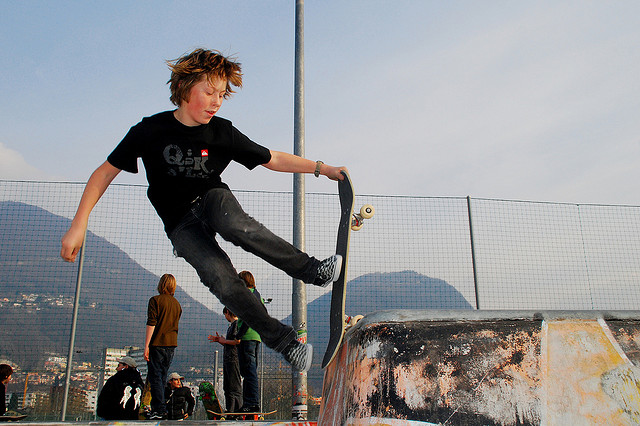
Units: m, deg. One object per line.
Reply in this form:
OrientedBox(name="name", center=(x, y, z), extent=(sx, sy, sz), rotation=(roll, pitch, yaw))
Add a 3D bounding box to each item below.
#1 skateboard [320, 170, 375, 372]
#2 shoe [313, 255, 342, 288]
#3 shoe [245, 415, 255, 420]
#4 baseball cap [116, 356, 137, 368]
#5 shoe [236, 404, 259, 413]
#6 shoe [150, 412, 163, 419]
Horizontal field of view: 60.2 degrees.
OrientedBox(name="skateboard", center=(0.197, 0.480, 4.468), extent=(0.255, 1.849, 0.415), rotation=(6, -8, -17))
OrientedBox(name="shoe", center=(0.069, 0.476, 4.485), extent=(0.293, 0.154, 0.124), rotation=(-47, -28, 26))
OrientedBox(name="shoe", center=(-0.817, 2.385, 6.439), extent=(0.099, 0.059, 0.070), rotation=(3, -17, -18))
OrientedBox(name="baseball cap", center=(-2.360, 1.818, 6.787), extent=(0.178, 0.064, 0.127), rotation=(18, -9, 9))
OrientedBox(name="shoe", center=(-0.846, 2.328, 6.517), extent=(0.245, 0.109, 0.444), rotation=(3, -28, -8))
OrientedBox(name="shoe", center=(-1.824, 2.277, 6.204), extent=(0.150, 0.069, 0.053), rotation=(6, -21, -1))
